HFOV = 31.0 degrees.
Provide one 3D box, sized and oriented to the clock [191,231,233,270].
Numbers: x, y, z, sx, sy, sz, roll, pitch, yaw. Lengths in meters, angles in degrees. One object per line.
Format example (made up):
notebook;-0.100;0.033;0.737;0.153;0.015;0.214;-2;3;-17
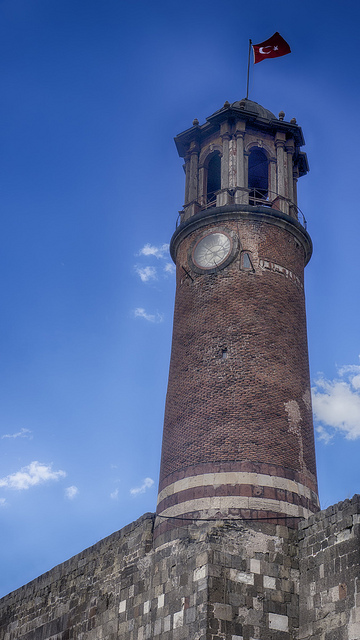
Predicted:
clock;1.045;-2.373;21.844;1.309;1.356;0.269;-39;-45;22

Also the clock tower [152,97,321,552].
clock tower;1.985;-0.425;21.676;5.005;15.940;4.934;20;-25;-41
